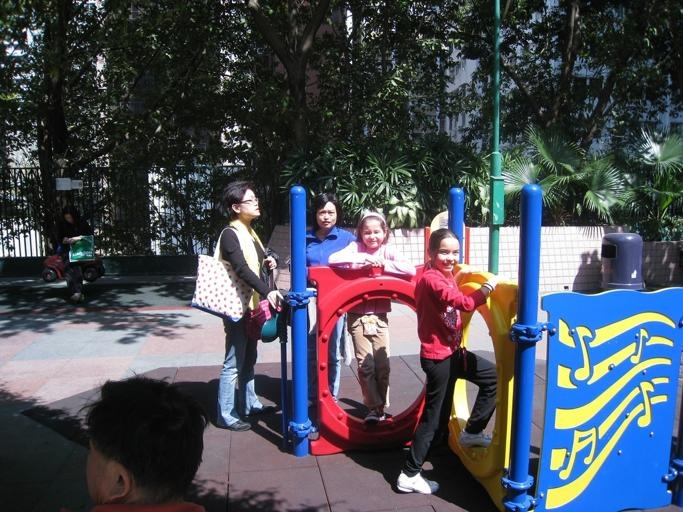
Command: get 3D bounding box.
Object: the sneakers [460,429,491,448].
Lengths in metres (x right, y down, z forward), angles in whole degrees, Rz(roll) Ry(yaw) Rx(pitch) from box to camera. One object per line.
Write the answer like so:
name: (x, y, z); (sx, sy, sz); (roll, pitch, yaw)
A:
sneakers: (1.034, 1.428, 4.240); (0.214, 0.131, 0.117); (-1, 6, -6)

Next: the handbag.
handbag: (-0.891, 0.343, 4.656); (0.737, 0.698, 0.271); (2, 8, 15)

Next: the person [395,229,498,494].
person: (0.775, 0.766, 4.003); (0.766, 1.918, 0.589); (-1, 8, -8)

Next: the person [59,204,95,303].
person: (-5.206, -0.084, 10.770); (0.586, 1.697, 1.524); (-4, 9, -26)

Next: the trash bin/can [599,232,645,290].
trash bin/can: (5.446, 0.080, 10.679); (0.612, 1.134, 0.747); (-6, 10, -10)

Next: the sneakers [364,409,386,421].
sneakers: (0.277, 1.368, 4.692); (0.076, 0.112, 0.260); (-1, -17, 10)

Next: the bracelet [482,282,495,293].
bracelet: (1.008, 0.213, 3.740); (0.052, 0.032, 0.078); (10, 9, -9)

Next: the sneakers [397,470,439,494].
sneakers: (0.550, 1.635, 4.033); (0.295, 0.171, 0.140); (1, 4, -9)
